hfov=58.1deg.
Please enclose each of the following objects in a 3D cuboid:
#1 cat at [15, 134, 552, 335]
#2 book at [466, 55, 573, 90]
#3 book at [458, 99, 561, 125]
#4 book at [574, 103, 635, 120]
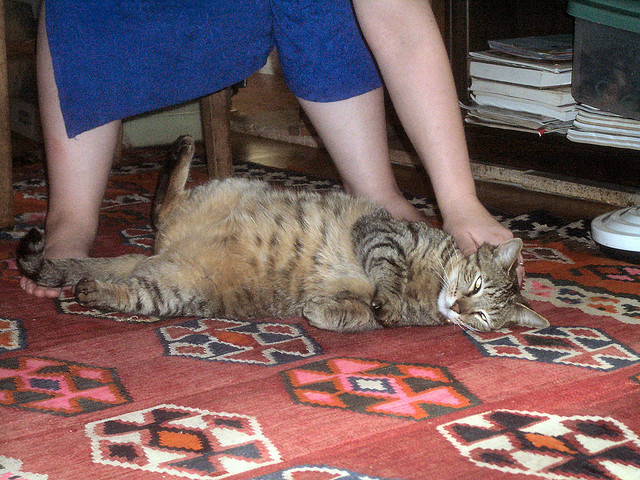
[{"bbox_3d":[-0.051,0.013,1.574,1.527,0.284,0.439,6,35,-4],"label":"cat"},{"bbox_3d":[0.788,-0.667,2.315,0.346,0.053,0.321,14,17,31],"label":"book"},{"bbox_3d":[0.787,-0.520,2.338,0.459,0.034,0.166,17,14,35],"label":"book"},{"bbox_3d":[1.030,-0.473,2.099,0.196,0.030,0.166,4,9,-23],"label":"book"}]
